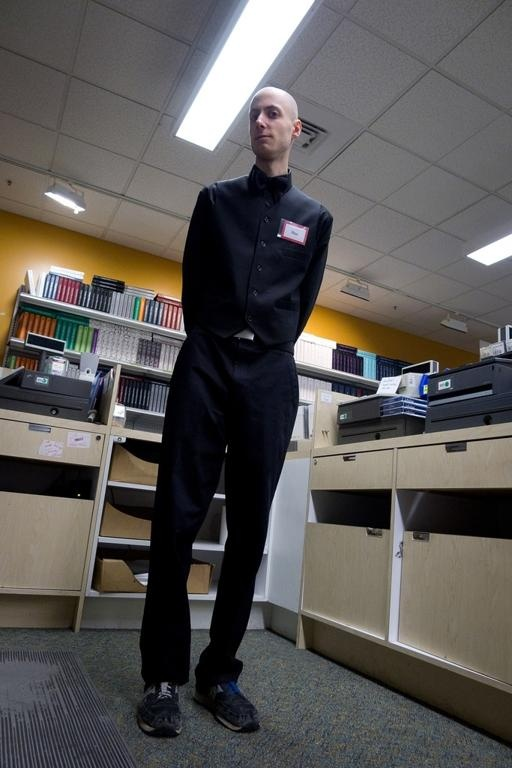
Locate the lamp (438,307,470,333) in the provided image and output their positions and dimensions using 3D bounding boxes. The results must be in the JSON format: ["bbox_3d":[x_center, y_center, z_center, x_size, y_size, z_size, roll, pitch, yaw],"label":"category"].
[{"bbox_3d":[2.292,-0.707,5.539,0.470,0.185,0.232,7,-6,-17],"label":"lamp"}]

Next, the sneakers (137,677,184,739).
[{"bbox_3d":[-0.179,0.586,0.847,0.044,0.054,0.121,6,-19,-6],"label":"sneakers"}]

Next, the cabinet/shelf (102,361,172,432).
[{"bbox_3d":[-0.808,0.080,3.217,0.474,0.496,0.261,13,-11,-33],"label":"cabinet/shelf"}]

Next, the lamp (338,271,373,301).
[{"bbox_3d":[1.031,-0.974,4.874,0.308,0.220,0.250,13,29,-30],"label":"lamp"}]

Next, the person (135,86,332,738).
[{"bbox_3d":[-0.015,-0.010,1.033,0.348,1.375,0.274,6,-5,-11],"label":"person"}]

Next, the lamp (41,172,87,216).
[{"bbox_3d":[-1.516,-1.522,3.755,0.070,0.152,0.203,-22,-33,34],"label":"lamp"}]

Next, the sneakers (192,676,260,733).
[{"bbox_3d":[-0.052,0.646,0.956,0.049,0.060,0.141,9,-18,-28],"label":"sneakers"}]
